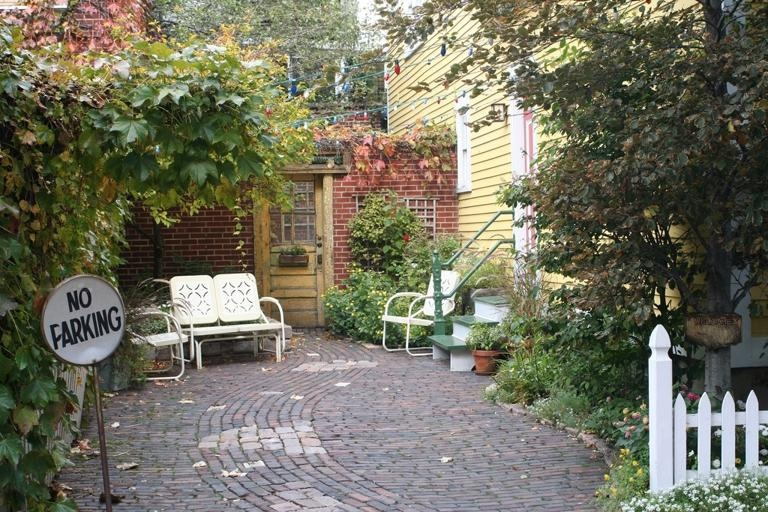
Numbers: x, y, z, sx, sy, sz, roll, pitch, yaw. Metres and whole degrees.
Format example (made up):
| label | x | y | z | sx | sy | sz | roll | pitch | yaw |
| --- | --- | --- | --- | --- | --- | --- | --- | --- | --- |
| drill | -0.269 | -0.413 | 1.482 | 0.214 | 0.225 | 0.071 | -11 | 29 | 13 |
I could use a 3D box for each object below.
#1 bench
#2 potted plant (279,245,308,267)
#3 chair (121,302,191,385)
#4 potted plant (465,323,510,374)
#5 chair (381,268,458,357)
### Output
| label | x | y | z | sx | sy | sz | roll | pitch | yaw |
| --- | --- | --- | --- | --- | --- | --- | --- | --- | --- |
| bench | -2.205 | 0.806 | 10.913 | 1.679 | 1.344 | 1.260 | -1 | 3 | -38 |
| potted plant | -1.550 | -0.003 | 13.386 | 0.392 | 0.248 | 0.369 | 1 | -3 | -4 |
| chair | -2.762 | 1.034 | 9.472 | 0.845 | 0.889 | 0.795 | 0 | 5 | -7 |
| potted plant | 1.284 | 1.114 | 9.791 | 0.565 | 0.665 | 0.652 | -3 | -3 | 40 |
| chair | 0.861 | 0.771 | 11.518 | 1.339 | 1.030 | 0.954 | 5 | 10 | -26 |
